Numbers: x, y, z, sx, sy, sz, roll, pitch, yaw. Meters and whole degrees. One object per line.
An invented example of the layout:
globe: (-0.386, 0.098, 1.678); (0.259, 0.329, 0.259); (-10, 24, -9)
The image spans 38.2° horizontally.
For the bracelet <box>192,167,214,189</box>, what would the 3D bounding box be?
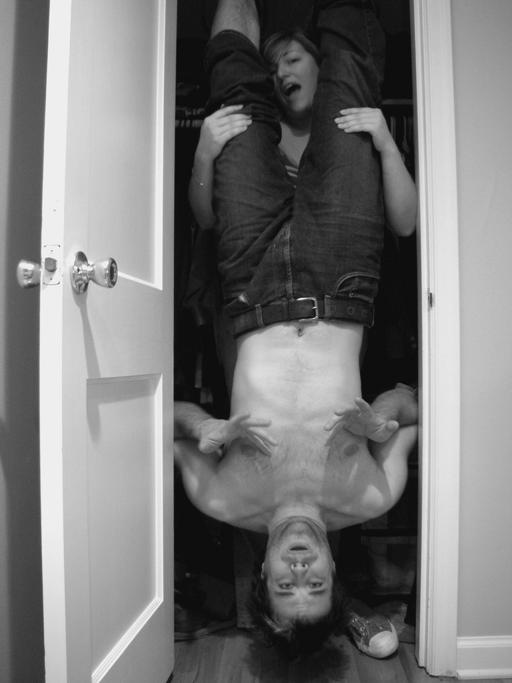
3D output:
bracelet: (-0.140, -0.431, 1.926); (0.041, 0.044, 0.058); (5, 13, 10)

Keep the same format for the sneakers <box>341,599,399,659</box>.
sneakers: (0.284, 0.710, 1.840); (0.114, 0.073, 0.208); (-1, 2, -24)
